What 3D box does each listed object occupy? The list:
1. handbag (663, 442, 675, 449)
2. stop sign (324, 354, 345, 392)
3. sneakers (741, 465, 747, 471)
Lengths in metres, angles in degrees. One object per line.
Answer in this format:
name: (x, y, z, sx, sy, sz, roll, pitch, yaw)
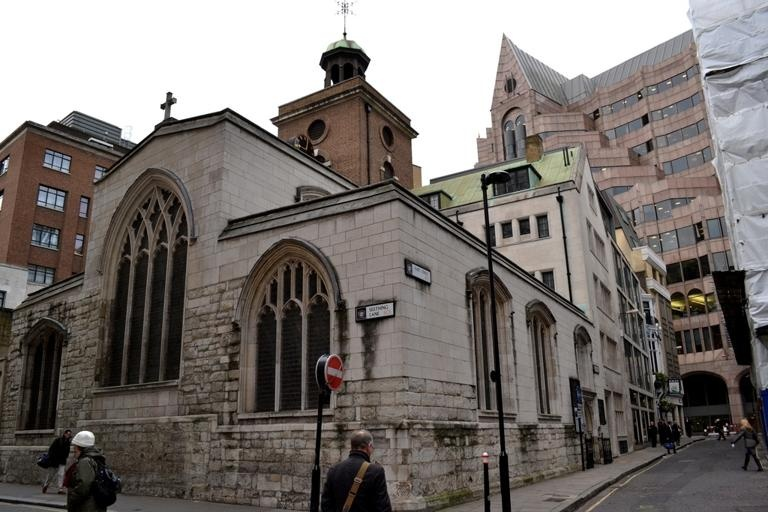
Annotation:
handbag: (18.112, 12.214, 41.495, 0.626, 0.303, 0.860, 3, -29, 1)
stop sign: (-1.627, 3.858, 21.081, 0.199, 1.394, 1.437, -5, -13, 23)
sneakers: (15.797, 9.416, 28.625, 0.387, 0.266, 0.198, 18, -22, -40)
